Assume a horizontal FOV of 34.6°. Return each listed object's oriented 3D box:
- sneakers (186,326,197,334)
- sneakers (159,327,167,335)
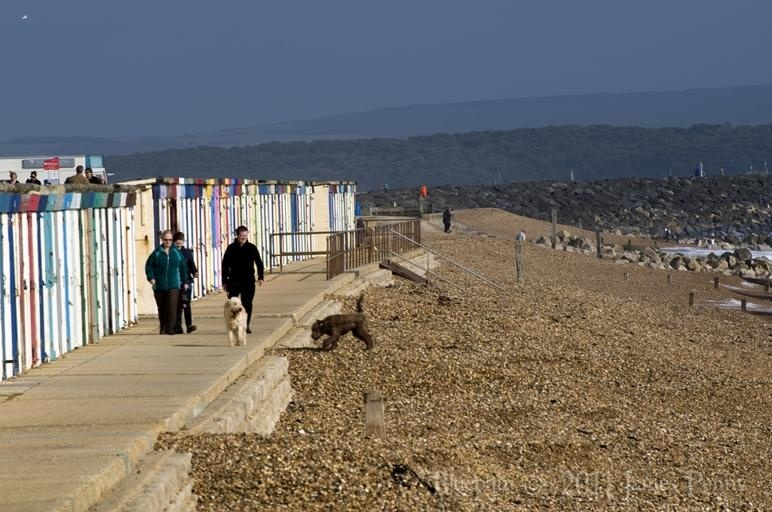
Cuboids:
[{"bbox_3d":[-4.288,1.654,27.693,0.081,0.264,0.115,32,-4,-23],"label":"sneakers"},{"bbox_3d":[-4.881,1.670,27.478,0.166,0.170,0.121,0,1,4],"label":"sneakers"}]
